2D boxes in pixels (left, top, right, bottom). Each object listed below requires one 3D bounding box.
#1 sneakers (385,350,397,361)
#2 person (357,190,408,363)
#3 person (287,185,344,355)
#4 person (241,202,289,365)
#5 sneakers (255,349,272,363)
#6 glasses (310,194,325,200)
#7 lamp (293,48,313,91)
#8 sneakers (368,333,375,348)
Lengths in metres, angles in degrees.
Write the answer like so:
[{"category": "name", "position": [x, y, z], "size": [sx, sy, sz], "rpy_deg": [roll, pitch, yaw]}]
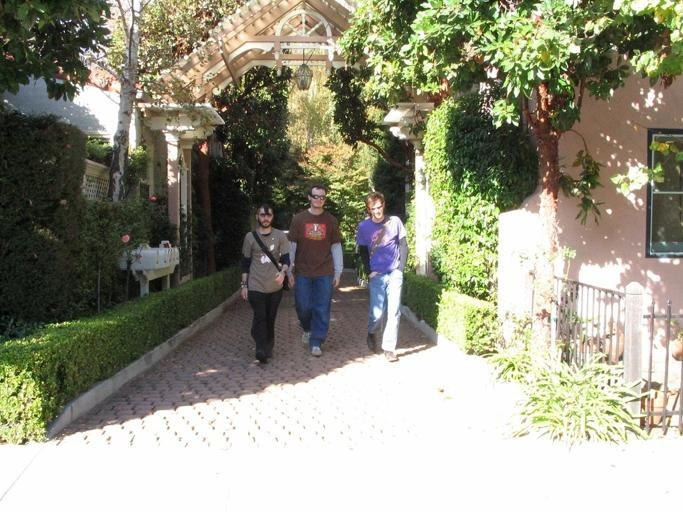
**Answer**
[{"category": "sneakers", "position": [0.700, 1.351, 7.675], "size": [0.195, 0.143, 0.144], "rpy_deg": [-2, 4, -29]}, {"category": "person", "position": [0.606, 0.257, 8.013], "size": [0.528, 2.316, 0.812], "rpy_deg": [-2, 4, -40]}, {"category": "person", "position": [-0.380, 0.197, 8.173], "size": [0.760, 2.382, 0.564], "rpy_deg": [0, 3, -1]}, {"category": "person", "position": [-1.037, 0.361, 7.788], "size": [0.552, 2.106, 0.661], "rpy_deg": [3, 4, 44]}, {"category": "sneakers", "position": [-1.049, 1.328, 7.605], "size": [0.197, 0.189, 0.398], "rpy_deg": [0, 4, -2]}, {"category": "glasses", "position": [-0.337, -0.830, 8.103], "size": [0.214, 0.060, 0.172], "rpy_deg": [-1, 4, -11]}, {"category": "lamp", "position": [-0.879, -4.438, 13.260], "size": [0.386, 1.278, 0.425], "rpy_deg": [-5, -11, 28]}, {"category": "sneakers", "position": [0.434, 1.243, 8.354], "size": [0.074, 0.255, 0.159], "rpy_deg": [-2, -22, 1]}]
